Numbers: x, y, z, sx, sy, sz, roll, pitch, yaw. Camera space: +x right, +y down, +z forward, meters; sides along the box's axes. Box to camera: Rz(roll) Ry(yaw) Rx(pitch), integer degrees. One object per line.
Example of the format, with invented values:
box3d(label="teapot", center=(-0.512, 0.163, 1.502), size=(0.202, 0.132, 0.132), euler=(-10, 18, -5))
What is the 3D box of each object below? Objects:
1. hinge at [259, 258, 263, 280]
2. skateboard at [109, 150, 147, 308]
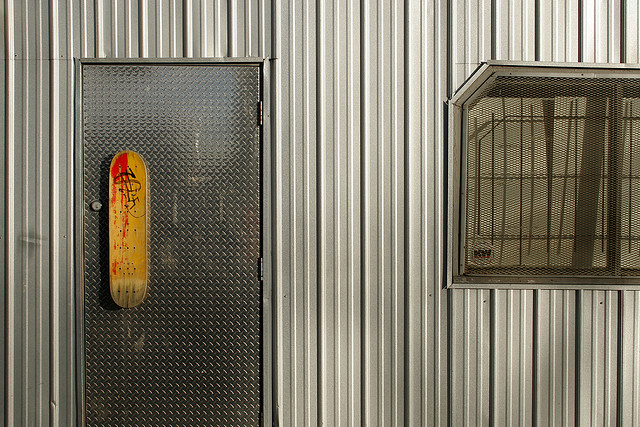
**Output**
box3d(label="hinge", center=(-0.362, 0.342, 8.886), size=(0.017, 0.129, 0.027), euler=(-1, -10, 25))
box3d(label="skateboard", center=(-1.178, 0.097, 8.856), size=(0.261, 0.936, 0.167), euler=(4, -9, -3))
